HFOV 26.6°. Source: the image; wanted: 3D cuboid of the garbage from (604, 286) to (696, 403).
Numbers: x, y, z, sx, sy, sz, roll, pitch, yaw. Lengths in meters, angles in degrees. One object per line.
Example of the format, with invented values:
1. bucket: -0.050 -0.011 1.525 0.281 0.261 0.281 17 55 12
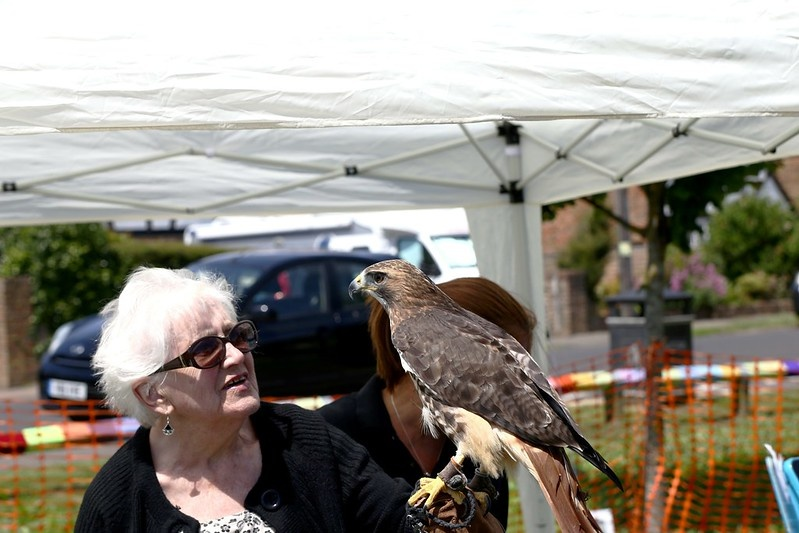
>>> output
1. garbage: 1.769 0.468 11.871 0.546 0.874 0.557 -2 -3 39

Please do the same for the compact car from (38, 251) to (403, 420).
1. compact car: -1.632 0.623 15.664 3.324 1.185 1.512 4 -7 -41
